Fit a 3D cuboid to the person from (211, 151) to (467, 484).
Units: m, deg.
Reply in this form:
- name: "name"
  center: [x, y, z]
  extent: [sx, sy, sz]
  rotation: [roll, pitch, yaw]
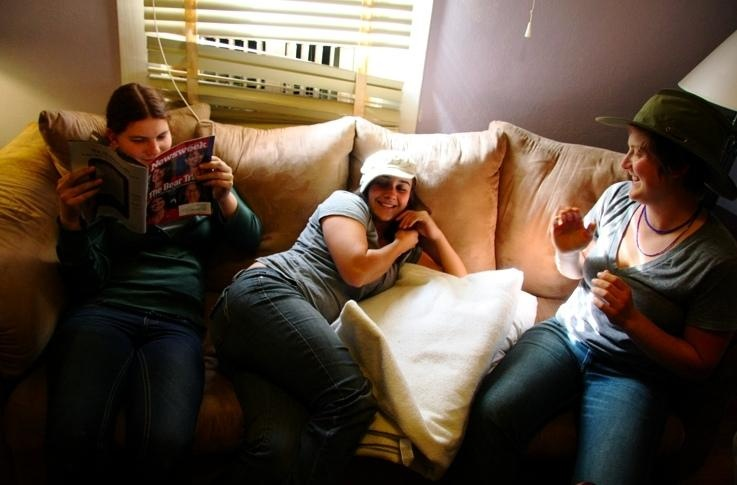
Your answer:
- name: "person"
  center: [-0.158, 0.183, 2.127]
  extent: [0.709, 0.957, 1.082]
  rotation: [17, 23, 23]

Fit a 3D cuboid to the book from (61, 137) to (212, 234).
- name: "book"
  center: [-0.829, -0.203, 2.056]
  extent: [0.499, 0.328, 0.175]
  rotation: [7, 42, -5]

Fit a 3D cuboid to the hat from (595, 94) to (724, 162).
- name: "hat"
  center: [1.086, -0.392, 1.967]
  extent: [0.296, 0.115, 0.253]
  rotation: [27, 0, 5]

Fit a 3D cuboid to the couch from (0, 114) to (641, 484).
- name: "couch"
  center: [0.037, 0.726, 3.465]
  extent: [3.118, 1.234, 1.369]
  rotation: [-2, 62, -2]

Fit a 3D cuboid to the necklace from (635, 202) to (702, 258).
- name: "necklace"
  center: [1.093, -0.046, 2.005]
  extent: [0.040, 0.207, 0.157]
  rotation: [-13, 52, -41]
